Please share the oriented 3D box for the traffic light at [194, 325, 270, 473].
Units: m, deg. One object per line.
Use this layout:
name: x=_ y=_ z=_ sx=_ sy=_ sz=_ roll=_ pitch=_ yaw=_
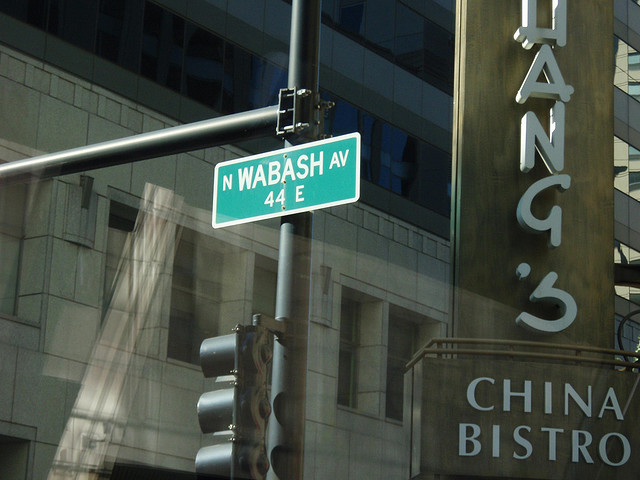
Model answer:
traffic light: x=-1.420 y=2.549 z=25.414 sx=1.120 sy=2.105 sz=1.046 roll=5 pitch=-28 yaw=-2
